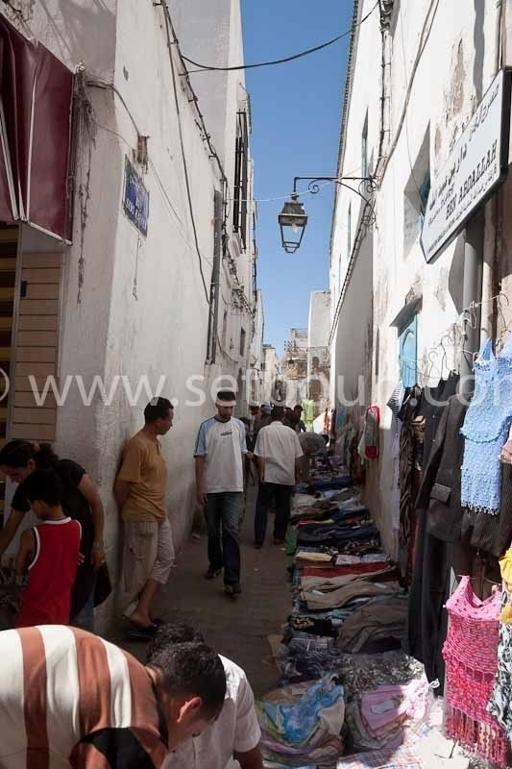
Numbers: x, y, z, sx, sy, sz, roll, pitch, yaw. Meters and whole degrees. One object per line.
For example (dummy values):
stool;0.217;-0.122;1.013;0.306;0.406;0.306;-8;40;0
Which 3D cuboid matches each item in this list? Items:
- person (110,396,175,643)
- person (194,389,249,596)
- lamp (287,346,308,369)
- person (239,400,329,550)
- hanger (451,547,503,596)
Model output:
person;-0.803;0.942;4.057;0.517;1.587;0.380;-6;-1;-31
person;-0.300;0.989;5.207;0.535;1.861;0.790;-6;-1;-15
lamp;2.631;-1.726;34.451;0.943;1.461;0.279;1;0;25
person;0.253;1.161;7.087;0.763;1.788;0.511;-7;-1;-12
hanger;0.848;0.707;2.101;0.075;0.129;0.159;11;-25;14
